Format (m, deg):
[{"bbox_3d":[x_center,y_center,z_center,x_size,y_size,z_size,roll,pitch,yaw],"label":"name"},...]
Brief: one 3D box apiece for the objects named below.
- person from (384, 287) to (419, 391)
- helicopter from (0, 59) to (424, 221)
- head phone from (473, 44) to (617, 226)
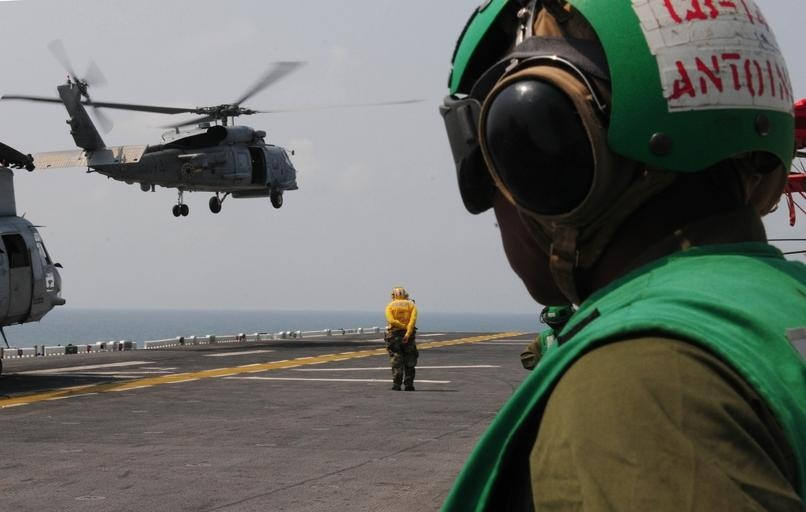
[{"bbox_3d":[-0.029,1.364,14.029,0.505,1.690,0.648,-1,2,-1],"label":"person"},{"bbox_3d":[-6.534,-3.001,25.356,6.858,2.497,8.131,7,10,43],"label":"helicopter"},{"bbox_3d":[0.333,-0.245,2.028,0.323,0.360,0.338,-31,-6,10],"label":"head phone"}]
